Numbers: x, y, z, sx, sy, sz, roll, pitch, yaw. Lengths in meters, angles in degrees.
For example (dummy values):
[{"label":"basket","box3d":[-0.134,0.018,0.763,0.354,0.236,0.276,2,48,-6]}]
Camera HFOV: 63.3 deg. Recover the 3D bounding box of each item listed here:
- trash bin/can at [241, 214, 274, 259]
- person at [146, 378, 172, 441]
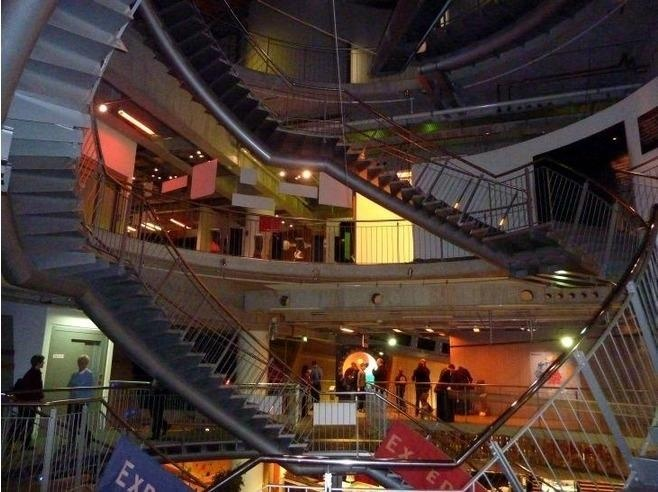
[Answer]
[{"label":"trash bin/can","box3d":[-2.471,-0.319,16.741,1.124,1.169,0.966,11,-7,13]},{"label":"person","box3d":[-3.874,3.742,12.171,0.476,1.242,0.834,6,-12,-16]}]
